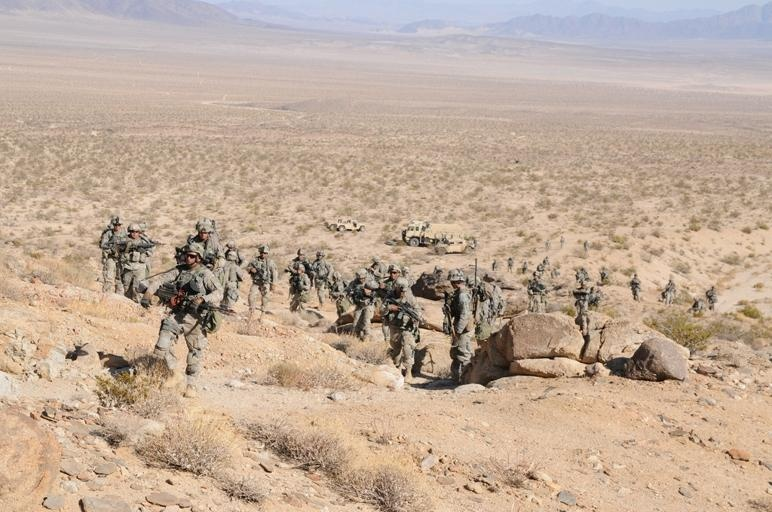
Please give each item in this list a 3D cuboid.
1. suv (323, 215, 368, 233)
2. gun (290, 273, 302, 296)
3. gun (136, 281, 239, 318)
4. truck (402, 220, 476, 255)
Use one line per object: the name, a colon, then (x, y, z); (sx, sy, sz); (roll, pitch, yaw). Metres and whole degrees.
suv: (-2.528, -1.796, 45.354); (1.906, 0.820, 1.288); (-1, 11, 1)
gun: (-3.309, 1.076, 27.078); (0.521, 0.708, 0.291); (11, 3, 28)
gun: (-4.684, 0.952, 16.136); (2.029, 0.767, 0.308); (12, -16, 22)
truck: (3.200, -0.945, 42.973); (3.756, 1.305, 1.972); (4, 5, 3)
